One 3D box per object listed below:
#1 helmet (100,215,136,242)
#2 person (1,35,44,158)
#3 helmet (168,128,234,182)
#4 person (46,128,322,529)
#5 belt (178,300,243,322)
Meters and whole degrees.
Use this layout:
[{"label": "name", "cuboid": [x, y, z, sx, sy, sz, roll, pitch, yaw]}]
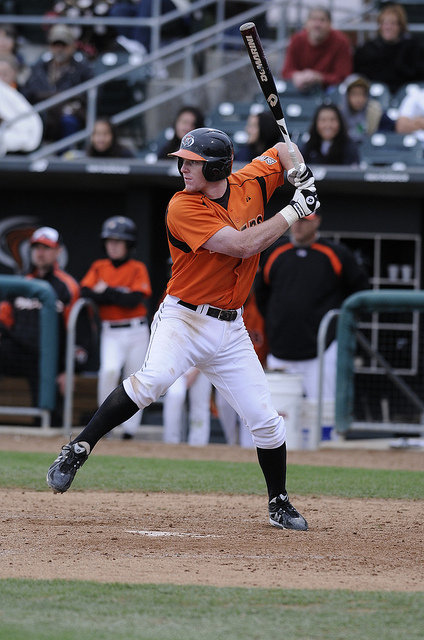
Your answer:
[{"label": "helmet", "cuboid": [-0.627, -0.618, 6.895, 0.198, 0.176, 0.209, 2, -4, 2]}, {"label": "person", "cuboid": [-1.539, -1.810, 8.240, 0.369, 1.168, 0.746, 3, -4, -11]}, {"label": "helmet", "cuboid": [-0.052, -0.603, 3.681, 0.208, 0.170, 0.244, 15, 19, 22]}, {"label": "person", "cuboid": [-0.056, 0.018, 3.647, 0.885, 1.453, 0.432, 3, -4, -7]}, {"label": "belt", "cuboid": [0.012, -0.031, 3.717, 0.254, 0.074, 0.084, 4, -5, -26]}]
